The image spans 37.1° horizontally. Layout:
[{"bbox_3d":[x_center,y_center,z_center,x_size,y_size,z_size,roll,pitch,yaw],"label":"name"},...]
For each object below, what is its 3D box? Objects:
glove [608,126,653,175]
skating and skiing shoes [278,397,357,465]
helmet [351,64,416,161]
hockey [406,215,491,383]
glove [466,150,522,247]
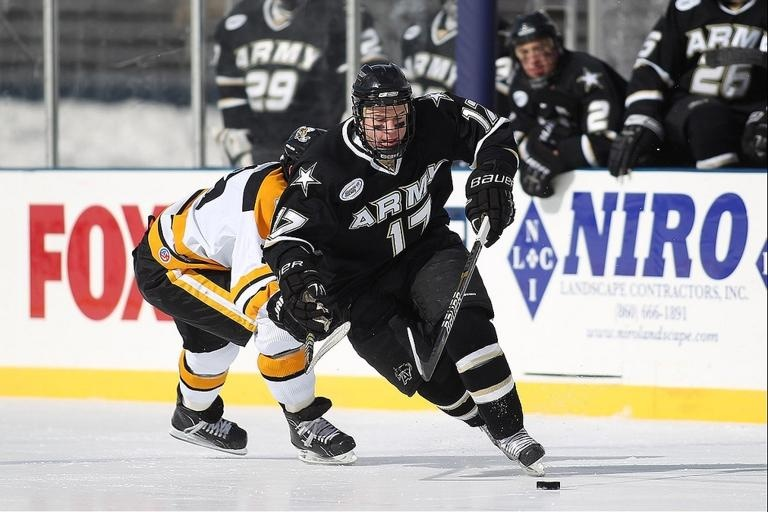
[{"bbox_3d":[1.393,-0.596,6.487,0.175,0.293,0.245,11,12,34],"label":"glove"},{"bbox_3d":[-0.321,0.882,5.726,0.363,0.281,0.135,0,20,34],"label":"skating and skiing shoes"},{"bbox_3d":[-0.012,-0.684,5.324,0.328,0.415,0.421,-10,40,-6],"label":"helmet"},{"bbox_3d":[0.292,0.232,5.412,0.060,0.893,0.343,23,-38,-6],"label":"hockey"},{"bbox_3d":[0.488,-0.268,5.293,0.253,0.411,0.145,-3,-3,12],"label":"glove"}]
